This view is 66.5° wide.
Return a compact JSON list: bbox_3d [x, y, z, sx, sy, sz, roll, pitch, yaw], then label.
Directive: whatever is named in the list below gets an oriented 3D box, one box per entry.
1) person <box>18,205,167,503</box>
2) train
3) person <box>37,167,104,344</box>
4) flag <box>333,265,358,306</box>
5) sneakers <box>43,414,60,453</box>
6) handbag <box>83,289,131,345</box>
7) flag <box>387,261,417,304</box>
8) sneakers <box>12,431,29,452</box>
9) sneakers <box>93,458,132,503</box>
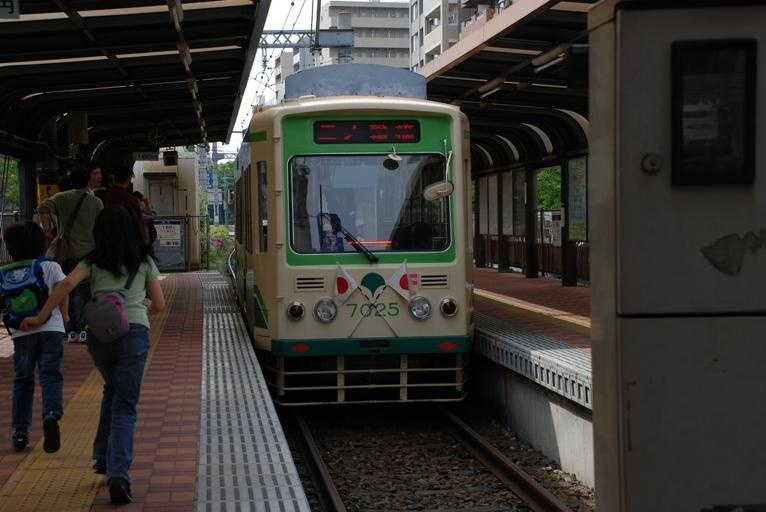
[{"bbox_3d":[-2.038,0.702,4.561,0.592,2.185,0.534,0,3,31],"label":"person"},{"bbox_3d":[-0.352,-0.113,8.367,4.642,7.885,18.101,-1,3,-5],"label":"train"},{"bbox_3d":[-4.473,-0.198,8.549,0.916,2.315,0.554,-9,32,-44],"label":"person"},{"bbox_3d":[-0.517,0.391,8.044,0.312,0.786,0.074,7,48,0],"label":"flag"},{"bbox_3d":[-2.880,1.516,5.094,0.138,0.374,0.143,0,-4,-13],"label":"sneakers"},{"bbox_3d":[-2.146,0.480,4.428,0.317,0.417,0.229,-23,-9,-23],"label":"handbag"},{"bbox_3d":[0.269,0.333,8.096,0.519,0.670,0.071,16,35,22],"label":"flag"},{"bbox_3d":[-3.345,1.701,5.385,0.077,0.113,0.248,0,4,-9],"label":"sneakers"},{"bbox_3d":[-2.040,1.695,4.512,0.190,0.260,0.560,0,3,-7],"label":"sneakers"}]
